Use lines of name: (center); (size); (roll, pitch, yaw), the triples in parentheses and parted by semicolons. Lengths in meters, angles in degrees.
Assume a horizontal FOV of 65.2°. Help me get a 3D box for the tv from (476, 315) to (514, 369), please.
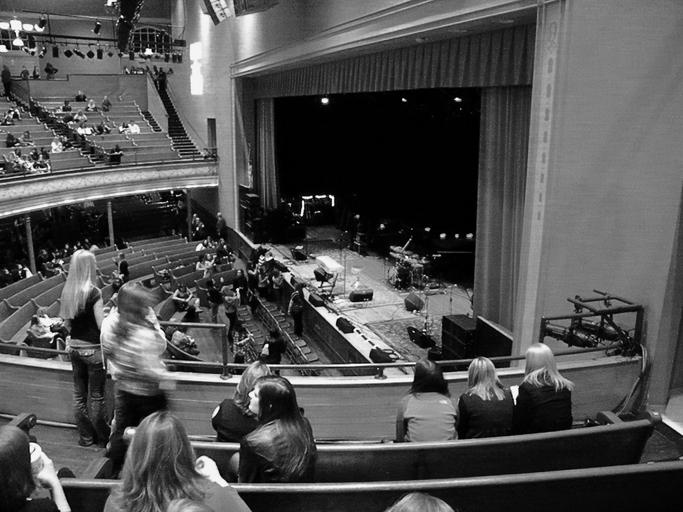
tv: (2.494, 1.421, 8.733); (0.419, 0.775, 0.819); (-11, 27, -15)

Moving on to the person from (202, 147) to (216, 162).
person: (-6.332, -4.823, 25.681); (0.927, 0.305, 0.862); (1, 50, -11)

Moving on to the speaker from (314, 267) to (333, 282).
speaker: (-0.595, 0.597, 16.450); (0.501, 0.443, 0.397); (-5, 2, 16)

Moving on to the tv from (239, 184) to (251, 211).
tv: (-4.291, -2.572, 23.544); (0.262, 1.123, 0.973); (-4, 8, -38)

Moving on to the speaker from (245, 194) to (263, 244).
speaker: (-3.704, -1.512, 22.520); (0.636, 1.717, 1.788); (-3, 14, -12)

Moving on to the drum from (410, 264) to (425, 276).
drum: (2.274, 0.421, 16.032); (0.303, 0.289, 0.309); (4, 9, 12)

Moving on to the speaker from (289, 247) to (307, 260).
speaker: (-1.586, -0.043, 19.611); (0.590, 0.410, 0.418); (-5, 14, -39)

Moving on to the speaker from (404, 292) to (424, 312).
speaker: (1.923, 1.254, 14.138); (0.389, 0.513, 0.212); (12, -3, 23)
